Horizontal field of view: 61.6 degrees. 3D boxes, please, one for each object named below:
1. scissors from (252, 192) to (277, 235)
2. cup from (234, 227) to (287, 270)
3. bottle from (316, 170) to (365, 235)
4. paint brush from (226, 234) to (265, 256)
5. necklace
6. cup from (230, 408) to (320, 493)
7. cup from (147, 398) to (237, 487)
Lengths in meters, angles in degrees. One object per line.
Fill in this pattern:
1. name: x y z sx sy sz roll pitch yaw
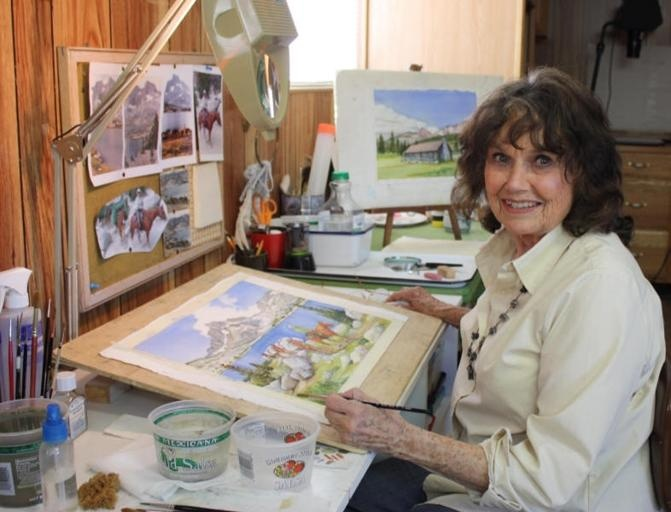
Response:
1. scissors: -0.255 -0.155 2.049 0.066 0.106 0.075 5 0 33
2. cup: -0.261 -0.021 1.874 0.115 0.116 0.155 0 3 7
3. bottle: 0.008 -0.180 2.087 0.188 0.264 0.189 2 16 -1
4. paint brush: -0.304 -0.040 1.898 0.116 0.118 0.070 -2 12 0
5. necklace: 0.342 0.172 1.257 0.046 0.180 0.191 37 32 6
6. cup: -0.108 0.351 1.005 0.149 0.100 0.161 1 4 0
7. cup: -0.260 0.332 1.014 0.148 0.095 0.150 3 7 0
